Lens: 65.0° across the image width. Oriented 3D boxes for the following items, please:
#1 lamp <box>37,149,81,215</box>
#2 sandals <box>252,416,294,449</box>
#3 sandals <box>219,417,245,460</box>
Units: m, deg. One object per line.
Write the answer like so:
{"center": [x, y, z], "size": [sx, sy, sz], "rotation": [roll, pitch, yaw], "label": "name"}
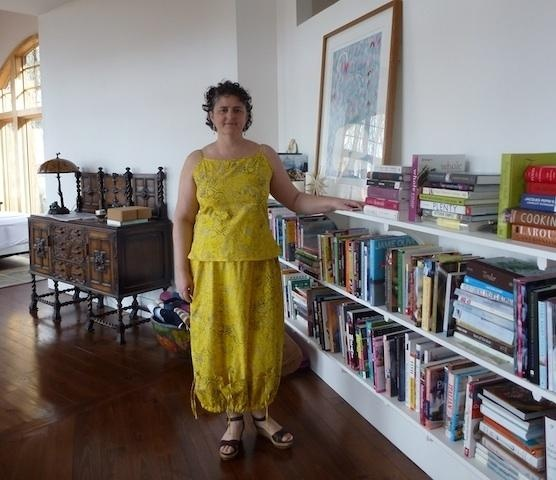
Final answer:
{"center": [-2.121, -0.556, 4.287], "size": [0.334, 0.575, 0.601], "rotation": [-4, 10, -17], "label": "lamp"}
{"center": [-0.033, 0.915, 2.177], "size": [0.096, 0.094, 0.249], "rotation": [-6, 9, -35], "label": "sandals"}
{"center": [-0.229, 0.929, 2.146], "size": [0.092, 0.127, 0.300], "rotation": [2, 9, 2], "label": "sandals"}
